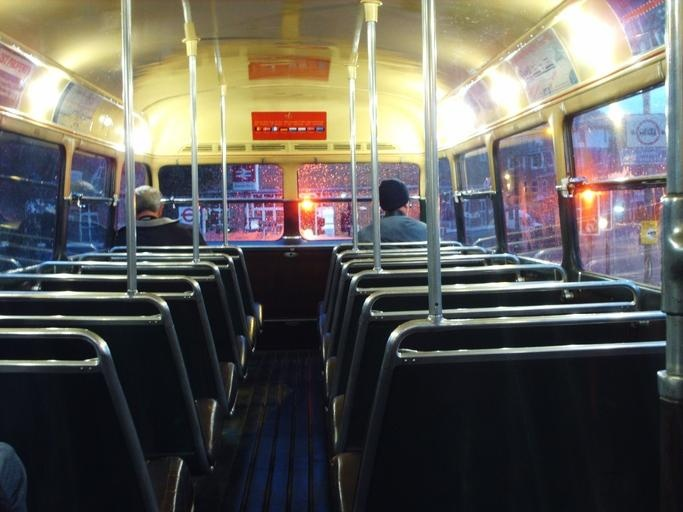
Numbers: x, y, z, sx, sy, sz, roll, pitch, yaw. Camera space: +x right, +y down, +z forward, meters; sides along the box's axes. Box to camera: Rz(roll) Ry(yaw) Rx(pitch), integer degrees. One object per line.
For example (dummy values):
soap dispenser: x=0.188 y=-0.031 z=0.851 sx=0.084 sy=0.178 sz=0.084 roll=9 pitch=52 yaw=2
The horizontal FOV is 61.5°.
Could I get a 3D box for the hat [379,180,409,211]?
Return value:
hat: x=0.459 y=-0.546 z=5.318 sx=0.205 sy=0.257 sz=0.303 roll=-3 pitch=-10 yaw=-16
